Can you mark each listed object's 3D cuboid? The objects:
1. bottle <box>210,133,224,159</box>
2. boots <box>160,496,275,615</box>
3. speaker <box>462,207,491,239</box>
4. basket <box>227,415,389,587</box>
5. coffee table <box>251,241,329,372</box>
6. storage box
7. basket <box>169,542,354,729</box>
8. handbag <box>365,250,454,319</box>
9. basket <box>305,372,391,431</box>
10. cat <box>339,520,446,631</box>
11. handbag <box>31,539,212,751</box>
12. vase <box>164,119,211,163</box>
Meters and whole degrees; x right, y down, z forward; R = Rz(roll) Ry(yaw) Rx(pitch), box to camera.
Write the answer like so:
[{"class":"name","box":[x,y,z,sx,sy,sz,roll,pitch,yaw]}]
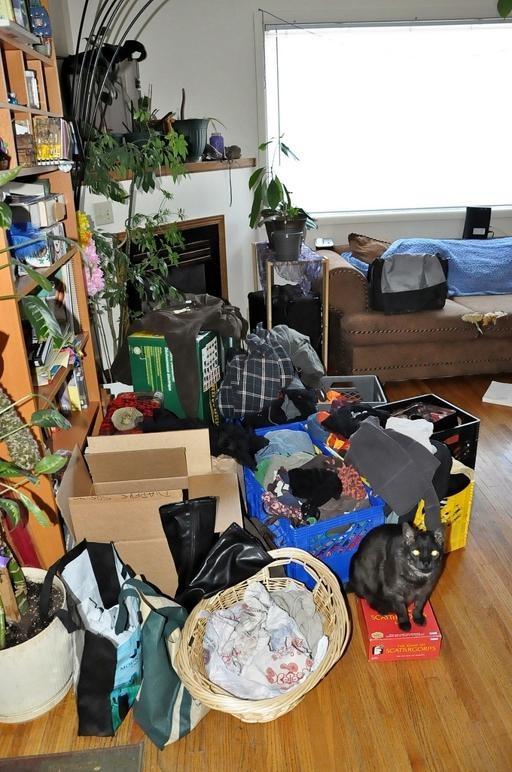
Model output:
[{"class":"bottle","box":[-0.264,-1.687,3.751,0.106,0.177,0.335,-2,21,-3]},{"class":"boots","box":[-0.126,0.404,1.466,0.215,0.344,0.344,-7,-4,18]},{"class":"speaker","box":[1.731,-1.260,4.131,0.177,0.230,0.165,7,22,22]},{"class":"basket","box":[0.163,0.365,1.628,0.296,0.237,0.482,-7,33,-12]},{"class":"coffee table","box":[0.251,-0.477,3.323,0.457,0.771,0.454,-1,20,0]},{"class":"storage box","box":[-0.247,0.368,1.645,0.512,0.547,0.440,-2,30,-3]},{"class":"basket","box":[0.035,0.571,1.234,0.400,0.143,0.347,-25,44,-23]},{"class":"handbag","box":[0.931,-0.621,3.202,0.400,0.296,0.397,-7,9,-23]},{"class":"basket","box":[0.437,0.039,2.384,0.242,0.159,0.253,0,26,3]},{"class":"cat","box":[0.376,0.460,1.424,0.139,0.311,0.225,-15,24,-32]},{"class":"handbag","box":[-0.313,0.579,1.267,0.399,0.406,0.262,3,21,10]},{"class":"vase","box":[-0.381,-1.544,3.351,0.187,0.272,0.379,1,21,6]}]
